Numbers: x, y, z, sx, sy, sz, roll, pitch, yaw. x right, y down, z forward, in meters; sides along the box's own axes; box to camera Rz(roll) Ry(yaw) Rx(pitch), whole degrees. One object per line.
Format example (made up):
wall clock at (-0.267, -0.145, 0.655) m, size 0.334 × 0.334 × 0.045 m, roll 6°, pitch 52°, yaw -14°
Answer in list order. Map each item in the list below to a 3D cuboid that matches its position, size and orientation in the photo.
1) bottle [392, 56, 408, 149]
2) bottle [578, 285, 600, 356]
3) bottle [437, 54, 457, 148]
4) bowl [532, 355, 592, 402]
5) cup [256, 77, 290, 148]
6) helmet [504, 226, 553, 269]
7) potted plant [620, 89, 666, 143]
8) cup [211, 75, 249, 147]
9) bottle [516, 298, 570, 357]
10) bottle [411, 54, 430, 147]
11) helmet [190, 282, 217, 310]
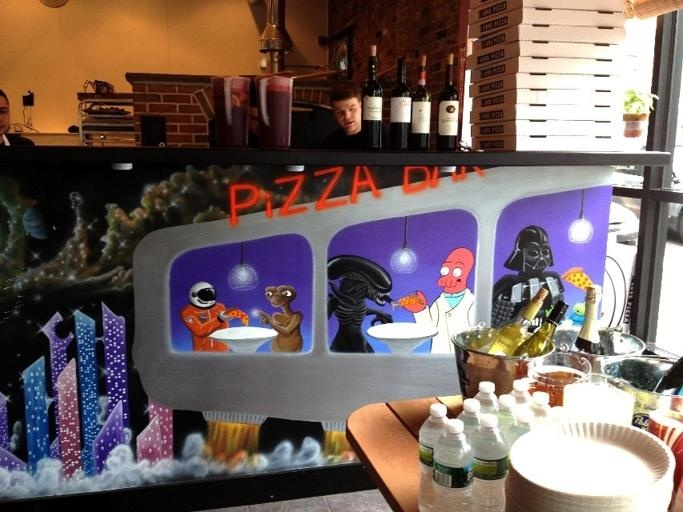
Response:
bottle at (0.242, -0.614, 2.238) m, size 0.079 × 0.364 × 0.170 m, roll 0°, pitch 10°, yaw 7°
bottle at (0.707, 0.174, 1.576) m, size 0.062 × 0.201 × 0.157 m, roll 3°, pitch 11°, yaw 25°
bottle at (0.441, -0.630, 2.294) m, size 0.081 × 0.386 × 0.183 m, roll 0°, pitch 10°, yaw 10°
bowl at (0.570, 0.303, 1.492) m, size 0.111 × 0.145 × 0.144 m, roll 5°, pitch 14°, yaw 7°
cup at (-0.247, -0.540, 2.075) m, size 0.121 × 0.276 × 0.177 m, roll -3°, pitch 10°, yaw -7°
helmet at (0.896, -0.047, 2.679) m, size 0.254 × 0.214 × 0.196 m, roll -7°, pitch 10°, yaw -34°
potted plant at (1.722, -0.820, 3.216) m, size 0.116 × 0.289 × 0.284 m, roll 7°, pitch 13°, yaw 40°
cup at (-0.405, -0.527, 2.059) m, size 0.135 × 0.247 × 0.158 m, roll -4°, pitch 10°, yaw -12°
bottle at (0.566, 0.199, 1.580) m, size 0.126 × 0.175 × 0.239 m, roll 2°, pitch 10°, yaw 17°
bottle at (0.327, -0.633, 2.298) m, size 0.079 × 0.391 × 0.246 m, roll 0°, pitch 10°, yaw 9°
helmet at (-0.598, 0.170, 2.389) m, size 0.118 × 0.112 × 0.104 m, roll 5°, pitch 3°, yaw 32°
